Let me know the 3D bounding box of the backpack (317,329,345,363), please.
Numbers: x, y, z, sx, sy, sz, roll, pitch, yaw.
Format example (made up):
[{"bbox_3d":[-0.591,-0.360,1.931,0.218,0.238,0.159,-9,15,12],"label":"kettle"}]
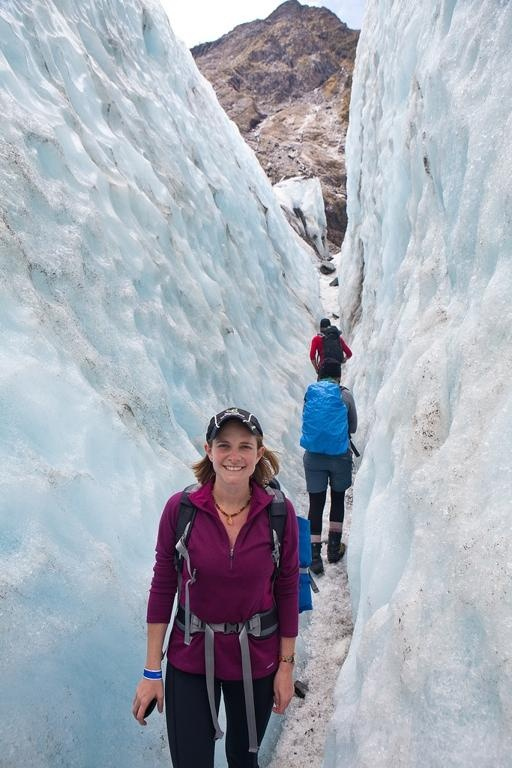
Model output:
[{"bbox_3d":[0.655,-0.328,5.367,0.227,0.401,0.204,3,-30,-4],"label":"backpack"}]

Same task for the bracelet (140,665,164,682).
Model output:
[{"bbox_3d":[-0.308,0.863,1.814,0.060,0.036,0.050,8,-14,-23],"label":"bracelet"}]

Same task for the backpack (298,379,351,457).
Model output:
[{"bbox_3d":[0.442,0.221,3.964,0.308,0.478,0.253,6,11,26],"label":"backpack"}]

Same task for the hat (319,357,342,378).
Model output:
[{"bbox_3d":[0.631,-0.133,5.174,0.133,0.135,0.164,4,-8,7],"label":"hat"}]

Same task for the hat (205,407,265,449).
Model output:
[{"bbox_3d":[-0.071,0.155,1.972,0.148,0.120,0.251,9,-10,0],"label":"hat"}]

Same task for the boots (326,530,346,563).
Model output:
[{"bbox_3d":[0.544,1.118,4.198,0.082,0.229,0.265,1,14,10],"label":"boots"}]
